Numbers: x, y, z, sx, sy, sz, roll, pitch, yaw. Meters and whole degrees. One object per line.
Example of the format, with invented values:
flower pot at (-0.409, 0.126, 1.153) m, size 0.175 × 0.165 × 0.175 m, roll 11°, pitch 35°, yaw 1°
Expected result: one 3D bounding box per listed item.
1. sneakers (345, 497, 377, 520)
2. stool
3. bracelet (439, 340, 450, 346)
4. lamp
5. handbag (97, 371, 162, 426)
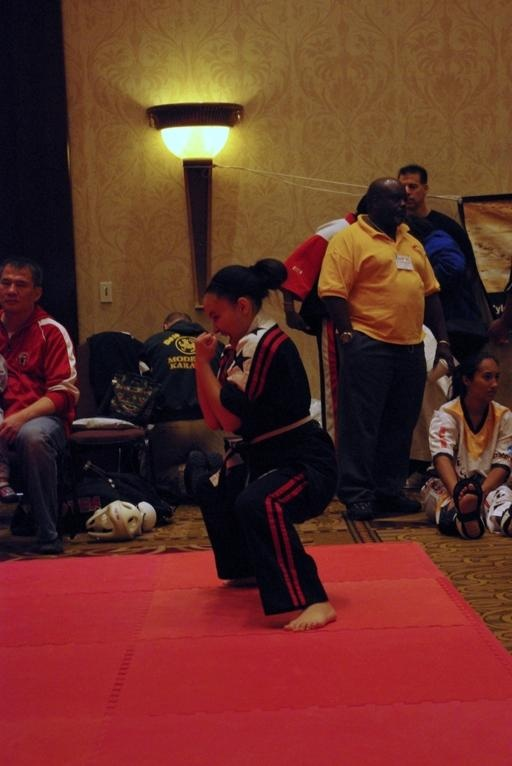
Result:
sneakers at (0.479, 0.588, 2.859) m, size 0.116 × 0.097 × 0.103 m, roll -4°, pitch 12°, yaw -2°
stool at (-0.720, 0.472, 2.932) m, size 0.427 × 0.571 × 0.317 m, roll 5°, pitch -15°, yaw -22°
bracelet at (0.978, -0.199, 3.222) m, size 0.033 × 0.026 × 0.034 m, roll -6°, pitch -9°, yaw 39°
lamp at (-0.374, -1.193, 4.283) m, size 0.605 × 1.323 × 0.196 m, roll -6°, pitch 13°, yaw -8°
handbag at (-0.682, 0.085, 3.431) m, size 0.292 × 0.280 × 0.102 m, roll 10°, pitch -13°, yaw 6°
